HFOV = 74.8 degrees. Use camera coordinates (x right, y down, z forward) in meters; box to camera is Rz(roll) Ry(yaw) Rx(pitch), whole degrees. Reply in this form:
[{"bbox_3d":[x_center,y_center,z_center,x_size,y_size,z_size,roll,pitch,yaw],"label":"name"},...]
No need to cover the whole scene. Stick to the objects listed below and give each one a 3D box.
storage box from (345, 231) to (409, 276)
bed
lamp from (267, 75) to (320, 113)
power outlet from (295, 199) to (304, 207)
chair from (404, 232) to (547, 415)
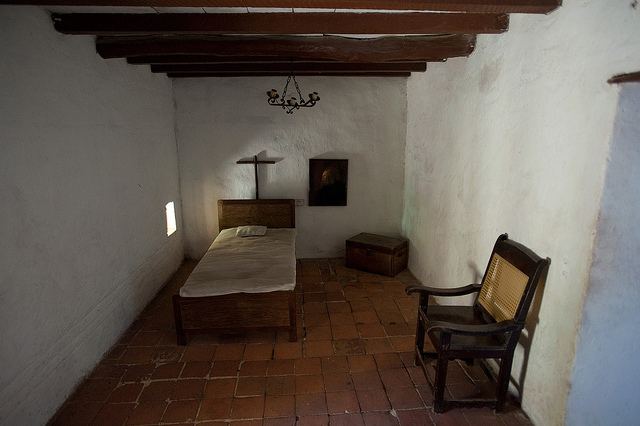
[{"bbox_3d":[1.169,0.647,7.686,0.987,0.533,0.728,9,16,36],"label":"storage box"},{"bbox_3d":[-1.097,0.807,6.686,1.371,1.269,2.458,-1,16,1],"label":"bed"},{"bbox_3d":[-0.442,-2.020,7.020,0.901,0.652,1.436,-1,12,-3],"label":"lamp"},{"bbox_3d":[-0.394,-0.203,8.049,0.219,0.150,0.118,0,15,-5],"label":"power outlet"},{"bbox_3d":[1.795,1.236,4.735,1.267,1.889,0.793,0,12,4],"label":"chair"}]
